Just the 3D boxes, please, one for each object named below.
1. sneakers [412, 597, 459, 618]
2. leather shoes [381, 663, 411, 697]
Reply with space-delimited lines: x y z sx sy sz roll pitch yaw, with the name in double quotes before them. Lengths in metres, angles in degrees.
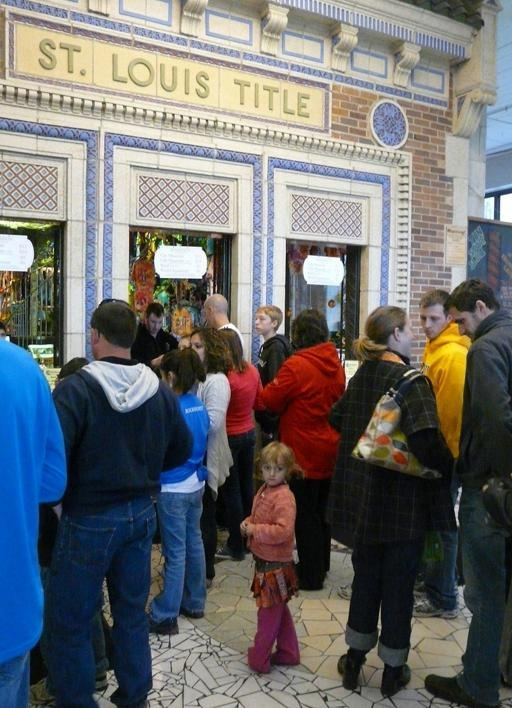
"sneakers" 1.014 1.436 4.194 0.238 0.119 0.099 11 -8 2
"leather shoes" 0.646 1.432 3.369 0.080 0.145 0.211 1 13 21
